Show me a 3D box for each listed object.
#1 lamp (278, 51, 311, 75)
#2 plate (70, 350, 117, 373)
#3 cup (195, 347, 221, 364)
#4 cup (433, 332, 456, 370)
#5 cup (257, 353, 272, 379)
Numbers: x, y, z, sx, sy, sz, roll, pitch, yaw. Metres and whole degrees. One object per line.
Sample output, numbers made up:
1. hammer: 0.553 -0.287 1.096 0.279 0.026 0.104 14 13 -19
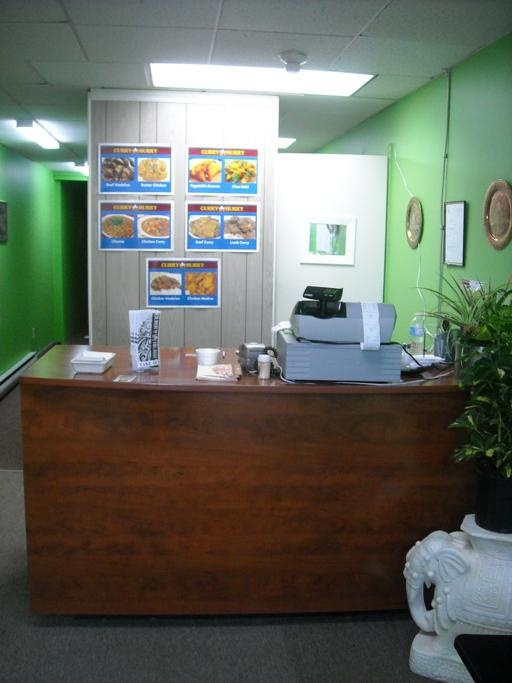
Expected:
1. lamp: 0.231 -1.753 3.366 0.168 0.081 0.361 2 5 5
2. plate: -0.666 0.080 2.159 0.156 0.072 0.215 2 5 1
3. cup: -0.189 0.057 2.204 0.079 0.049 0.061 -5 10 -28
4. cup: 0.872 0.021 2.480 0.069 0.130 0.108 1 5 -2
5. cup: 0.034 0.098 2.063 0.050 0.093 0.064 2 5 10
